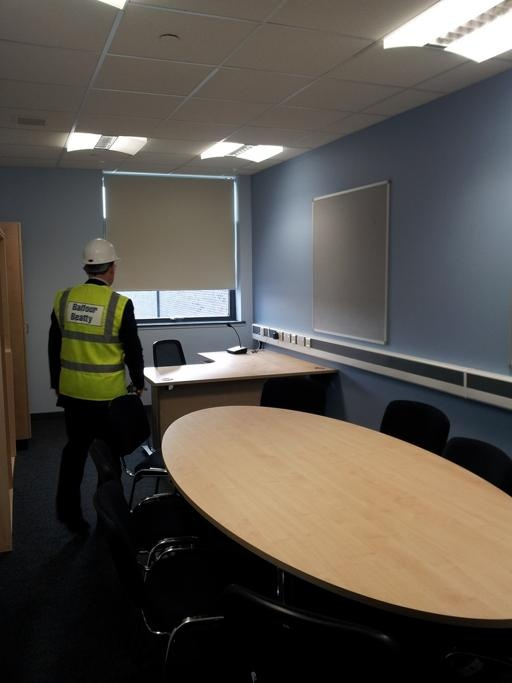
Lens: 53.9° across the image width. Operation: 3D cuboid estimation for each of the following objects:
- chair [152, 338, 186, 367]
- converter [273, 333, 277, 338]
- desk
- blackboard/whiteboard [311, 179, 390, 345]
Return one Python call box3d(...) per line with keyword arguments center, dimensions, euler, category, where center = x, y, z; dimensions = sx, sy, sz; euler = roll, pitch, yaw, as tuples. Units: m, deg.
box3d(center=(-0.819, 0.109, 4.763), dimensions=(0.221, 0.396, 0.269), euler=(-3, 8, -26), category="chair")
box3d(center=(0.205, -0.060, 5.514), dimensions=(0.040, 0.050, 0.043), euler=(1, 11, -5), category="converter")
box3d(center=(-0.325, 0.337, 4.231), dimensions=(0.899, 0.643, 0.948), euler=(-1, 10, -19), category="desk")
box3d(center=(0.774, -0.654, 4.038), dimensions=(0.051, 1.465, 1.376), euler=(0, -1, -22), category="blackboard/whiteboard")
